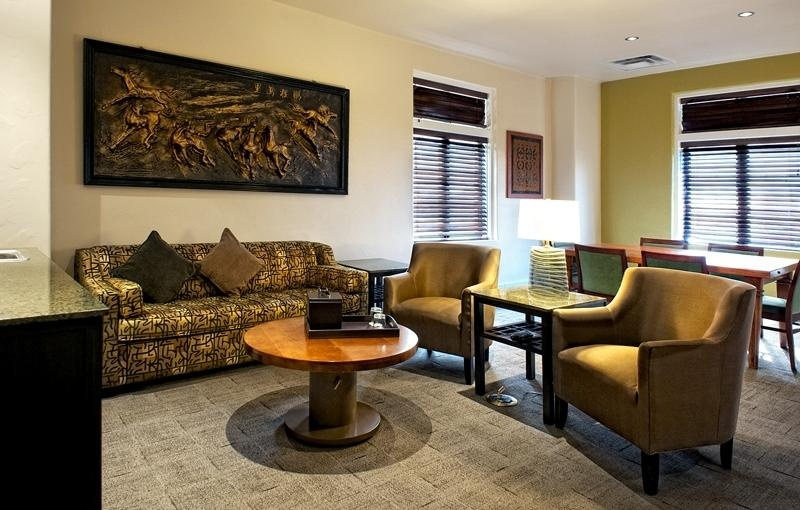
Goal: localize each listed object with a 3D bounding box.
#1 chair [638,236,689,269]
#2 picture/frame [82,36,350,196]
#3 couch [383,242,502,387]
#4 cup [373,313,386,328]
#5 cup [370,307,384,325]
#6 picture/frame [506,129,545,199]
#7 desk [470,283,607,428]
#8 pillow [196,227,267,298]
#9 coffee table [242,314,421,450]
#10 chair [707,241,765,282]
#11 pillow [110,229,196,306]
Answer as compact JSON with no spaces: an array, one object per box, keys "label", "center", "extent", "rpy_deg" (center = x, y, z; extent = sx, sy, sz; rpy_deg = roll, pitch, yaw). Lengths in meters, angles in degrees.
[{"label":"chair","center":[2.671,-0.029,5.160],"extent":[0.306,0.501,0.296],"rpy_deg":[-17,18,-42]},{"label":"picture/frame","center":[-1.835,-1.338,4.827],"extent":[2.000,0.842,0.089],"rpy_deg":[1,-1,-35]},{"label":"couch","center":[0.381,0.455,4.851],"extent":[1.131,1.265,1.198],"rpy_deg":[4,2,31]},{"label":"cup","center":[-0.150,0.477,3.656],"extent":[0.094,0.089,0.086],"rpy_deg":[1,2,0]},{"label":"cup","center":[-0.172,0.455,3.708],"extent":[0.120,0.114,0.091],"rpy_deg":[0,1,30]},{"label":"picture/frame","center":[1.762,-1.285,7.176],"extent":[0.777,0.936,0.150],"rpy_deg":[-7,10,-39]},{"label":"desk","center":[0.930,0.690,4.026],"extent":[1.114,0.985,0.970],"rpy_deg":[-3,4,-33]},{"label":"pillow","center":[-1.555,0.094,4.637],"extent":[0.172,0.584,0.551],"rpy_deg":[-3,44,52]},{"label":"coffee table","center":[-0.480,0.843,3.347],"extent":[0.916,0.461,0.872],"rpy_deg":[-1,3,-22]},{"label":"chair","center":[3.142,0.065,4.765],"extent":[0.254,0.310,0.344],"rpy_deg":[-17,16,-33]},{"label":"pillow","center":[-2.067,0.112,4.299],"extent":[0.175,0.569,0.574],"rpy_deg":[-25,24,45]}]
